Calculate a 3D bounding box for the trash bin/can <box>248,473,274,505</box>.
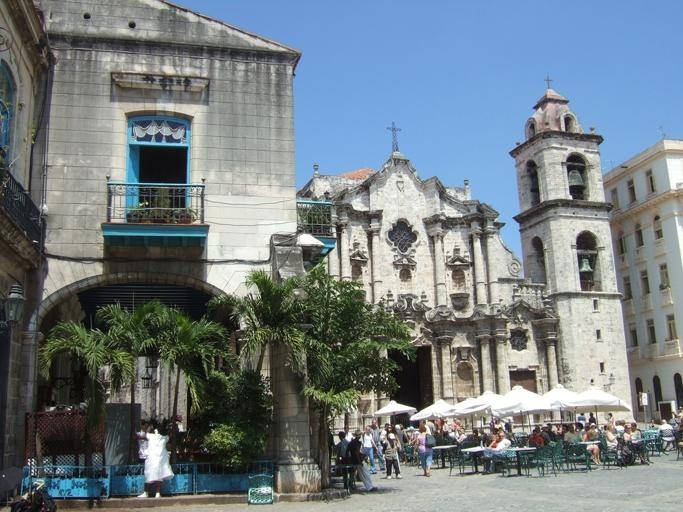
[{"bbox_3d":[-2.220,6.322,21.121,0.716,0.817,0.403,-1,-17,-8],"label":"trash bin/can"}]
